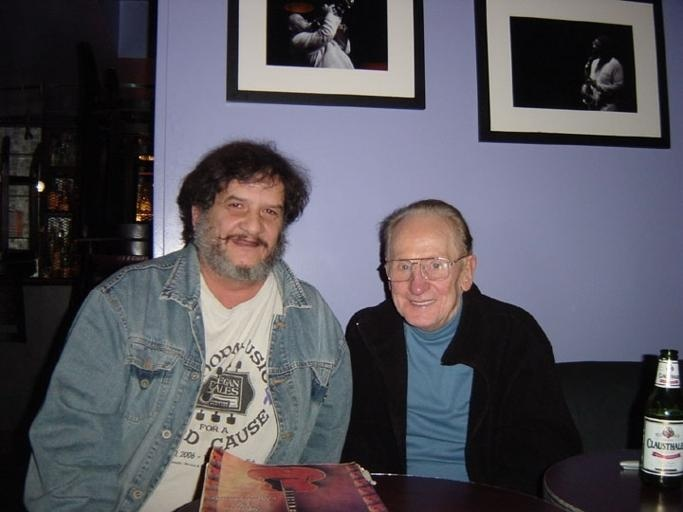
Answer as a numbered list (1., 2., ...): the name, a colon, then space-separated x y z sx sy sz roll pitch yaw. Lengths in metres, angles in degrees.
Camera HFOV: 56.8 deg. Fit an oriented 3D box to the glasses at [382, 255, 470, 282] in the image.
1. glasses: 0.402 0.058 2.897 0.383 0.121 0.110 1 2 1
